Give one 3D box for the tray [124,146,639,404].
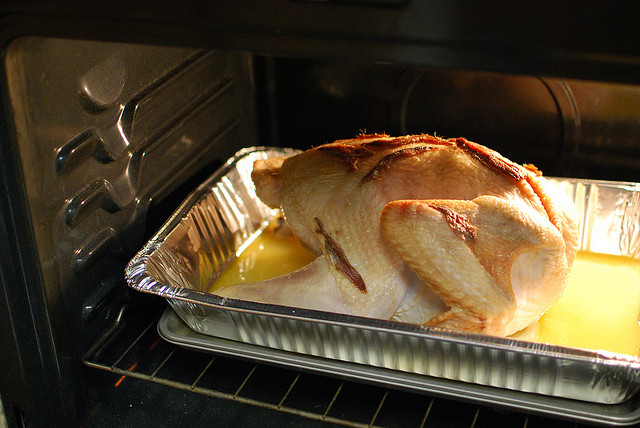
[{"bbox_3d":[0.113,0.271,1.630,1.272,0.187,0.815,7,40,17],"label":"tray"}]
